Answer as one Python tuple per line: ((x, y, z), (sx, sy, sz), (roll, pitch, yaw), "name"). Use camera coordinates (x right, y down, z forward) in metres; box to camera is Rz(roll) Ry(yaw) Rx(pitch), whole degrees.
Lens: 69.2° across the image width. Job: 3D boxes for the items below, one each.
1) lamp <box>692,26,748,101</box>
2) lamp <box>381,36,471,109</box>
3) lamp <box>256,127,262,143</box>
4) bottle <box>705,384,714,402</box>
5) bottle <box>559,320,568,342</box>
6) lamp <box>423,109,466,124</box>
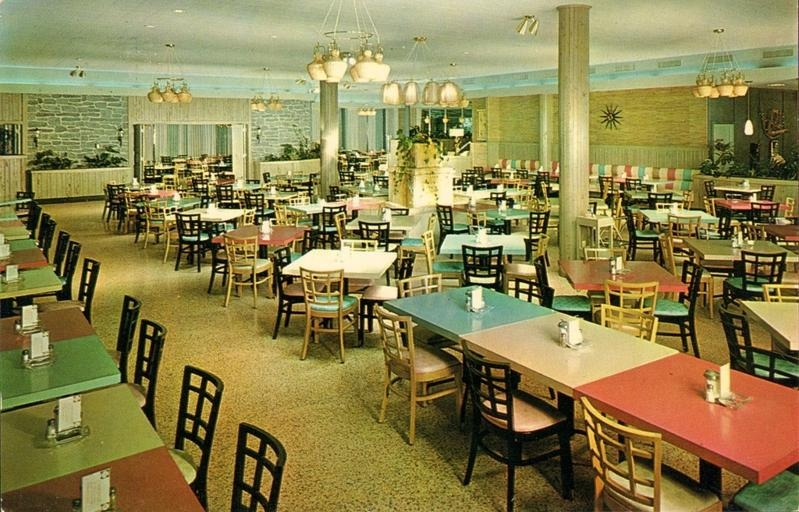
((6.350, -3.842, 11.523), (1.312, 1.097, 1.275), (7, 22, 33), "lamp")
((0.315, -2.861, 8.949), (1.414, 0.818, 1.238), (2, 21, 13), "lamp")
((-5.392, -4.678, 22.222), (0.053, 0.590, 0.217), (9, 16, 41), "lamp")
((2.125, 0.936, 3.964), (0.065, 0.123, 0.085), (5, 13, 27), "bottle")
((1.321, 0.614, 4.695), (0.056, 0.173, 0.087), (1, 11, 8), "bottle")
((1.987, -6.128, 25.208), (2.285, 0.565, 1.422), (7, 15, 27), "lamp")
